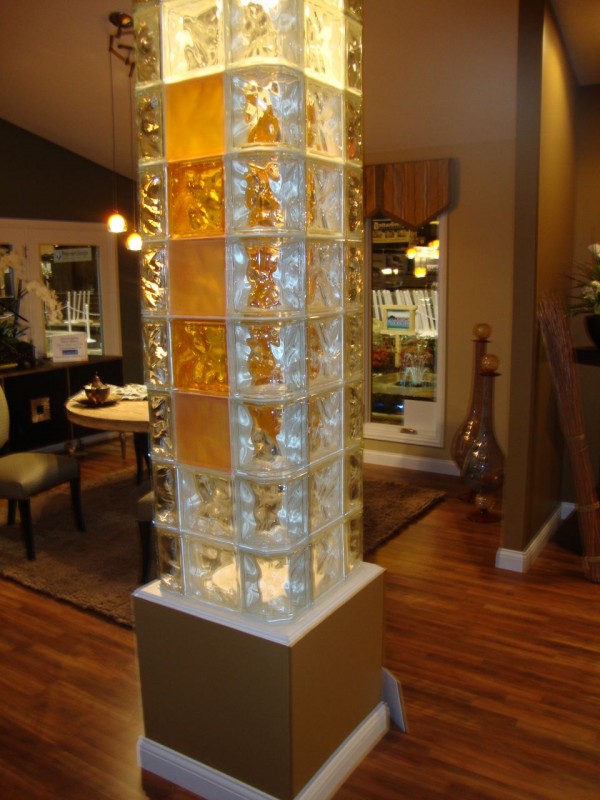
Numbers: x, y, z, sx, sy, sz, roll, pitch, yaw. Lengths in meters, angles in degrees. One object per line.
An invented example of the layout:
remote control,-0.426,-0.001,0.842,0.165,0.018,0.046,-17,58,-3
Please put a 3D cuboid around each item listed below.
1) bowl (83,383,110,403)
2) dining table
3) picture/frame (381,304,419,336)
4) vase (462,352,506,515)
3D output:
bowl,-1.263,-0.043,3.909,0.126,0.089,0.130,2,11,0
dining table,-1.366,0.259,4.408,0.678,0.321,0.671,-8,20,-21
picture/frame,0.813,-0.649,5.020,0.257,0.230,0.028,7,13,33
vase,1.211,0.221,3.951,0.329,1.022,0.240,-4,9,-24
